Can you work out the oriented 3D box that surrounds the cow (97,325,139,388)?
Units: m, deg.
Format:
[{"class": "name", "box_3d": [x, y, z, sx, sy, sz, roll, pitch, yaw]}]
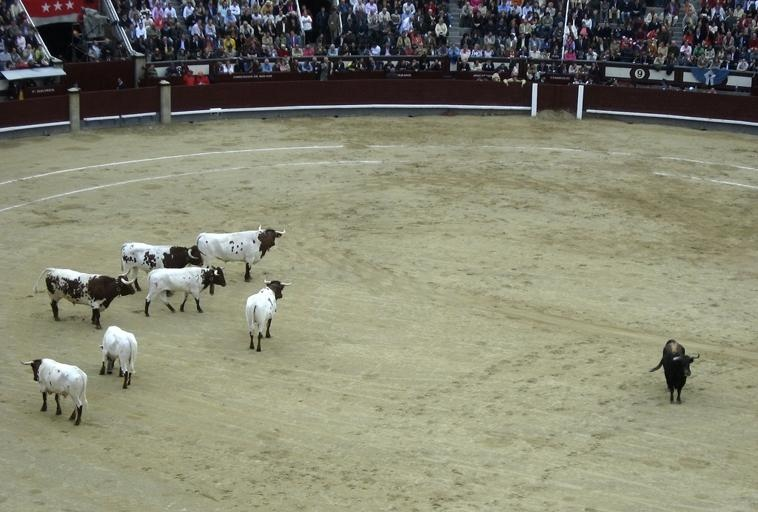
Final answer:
[{"class": "cow", "box_3d": [-6.200, 2.313, 22.484, 0.682, 1.383, 1.044, -15, 20, -36]}]

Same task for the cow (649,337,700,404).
[{"class": "cow", "box_3d": [7.012, 2.712, 22.604, 0.825, 1.294, 1.040, 2, 16, 15]}]
